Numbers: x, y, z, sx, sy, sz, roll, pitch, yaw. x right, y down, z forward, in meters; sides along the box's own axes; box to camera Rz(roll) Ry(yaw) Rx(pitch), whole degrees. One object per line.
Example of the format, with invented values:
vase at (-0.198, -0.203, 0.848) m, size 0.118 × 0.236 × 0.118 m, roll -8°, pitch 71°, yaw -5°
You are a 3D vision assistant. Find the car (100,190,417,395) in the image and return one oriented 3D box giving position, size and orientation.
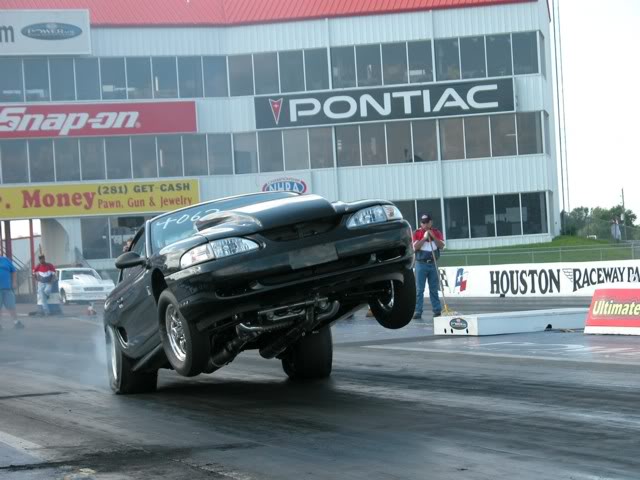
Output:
car at (-1.034, 0.703, 9.069) m, size 2.051 × 1.325 × 3.207 m, roll -4°, pitch -18°, yaw -34°
